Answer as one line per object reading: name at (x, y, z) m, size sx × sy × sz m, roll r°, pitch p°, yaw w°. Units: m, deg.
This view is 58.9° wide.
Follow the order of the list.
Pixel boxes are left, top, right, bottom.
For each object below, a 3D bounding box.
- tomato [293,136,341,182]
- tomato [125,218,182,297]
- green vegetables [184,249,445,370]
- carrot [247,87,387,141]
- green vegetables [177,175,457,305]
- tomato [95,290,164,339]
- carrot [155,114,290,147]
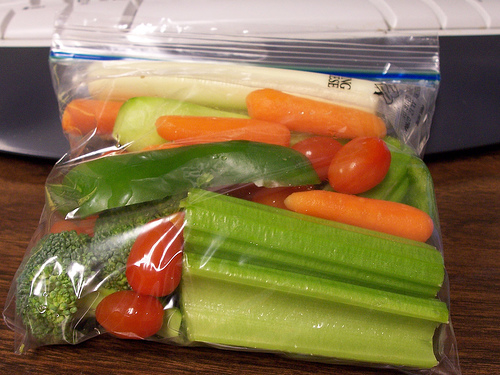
tomato at (0.148, -0.074, 1.026) m, size 0.103 × 0.062 × 0.085 m, roll 3°, pitch 78°, yaw -10°
tomato at (-0.194, 0.142, 0.919) m, size 0.113 × 0.098 × 0.145 m, roll 0°, pitch 52°, yaw 9°
green vegetables at (0.132, 0.241, 0.907) m, size 0.568 × 0.200 × 0.125 m, roll 7°, pitch 22°, yaw -3°
carrot at (0.145, -0.173, 1.086) m, size 0.339 × 0.100 × 0.096 m, roll 13°, pitch 85°, yaw 21°
green vegetables at (0.148, 0.135, 0.964) m, size 0.627 × 0.140 × 0.154 m, roll 12°, pitch 8°, yaw -22°
tomato at (-0.249, 0.266, 0.919) m, size 0.140 × 0.078 × 0.072 m, roll 5°, pitch 53°, yaw 13°
carrot at (-0.074, -0.148, 1.042) m, size 0.345 × 0.102 × 0.097 m, roll 2°, pitch 10°, yaw 18°
